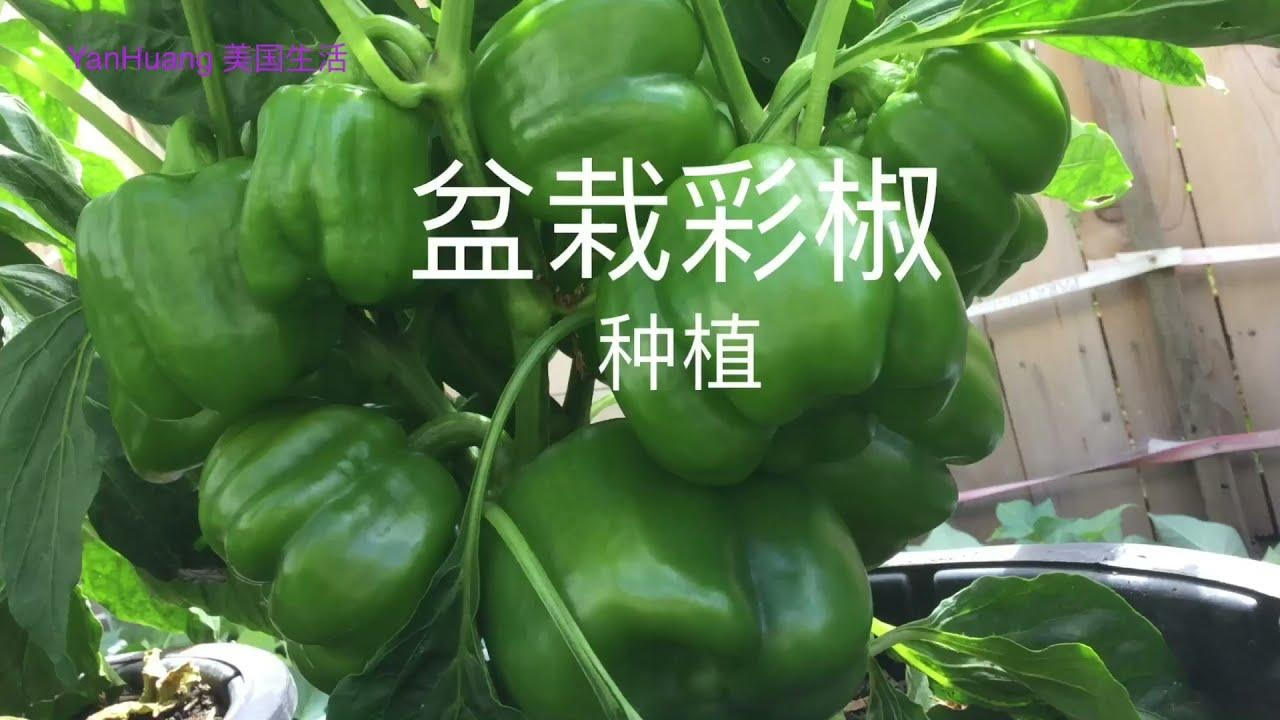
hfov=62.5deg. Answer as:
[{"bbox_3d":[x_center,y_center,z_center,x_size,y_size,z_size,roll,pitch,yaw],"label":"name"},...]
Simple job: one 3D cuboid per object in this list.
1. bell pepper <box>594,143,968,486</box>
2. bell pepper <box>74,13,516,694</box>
[{"bbox_3d":[0.108,-0.067,1.240,0.344,0.374,0.488,0,24,-15],"label":"bell pepper"},{"bbox_3d":[-0.353,0.008,1.171,0.456,0.503,0.212,-13,9,-17],"label":"bell pepper"}]
